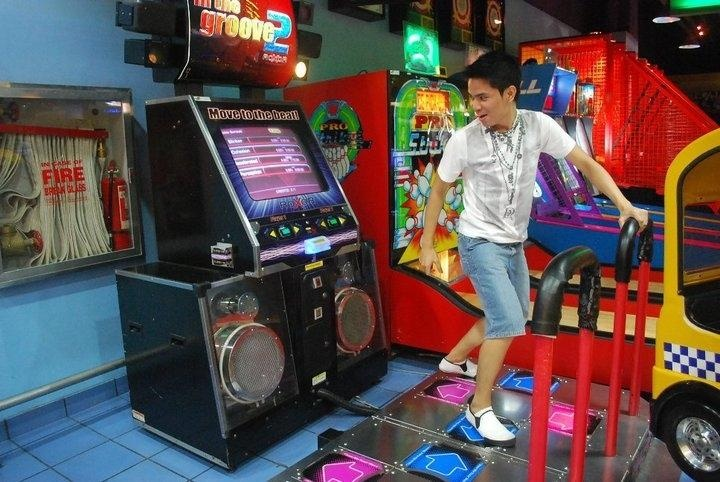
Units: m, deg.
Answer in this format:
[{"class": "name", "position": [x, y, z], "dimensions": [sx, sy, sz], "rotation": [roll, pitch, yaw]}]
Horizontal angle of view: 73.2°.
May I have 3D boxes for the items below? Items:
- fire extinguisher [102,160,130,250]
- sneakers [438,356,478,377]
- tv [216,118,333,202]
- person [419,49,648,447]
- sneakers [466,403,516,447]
[{"class": "fire extinguisher", "position": [-1.761, -0.203, 3.557], "dimensions": [0.191, 0.515, 0.093], "rotation": [-13, 19, -25]}, {"class": "sneakers", "position": [0.710, 0.906, 3.516], "dimensions": [0.362, 0.149, 0.134], "rotation": [9, 14, -31]}, {"class": "tv", "position": [-0.580, -0.556, 3.296], "dimensions": [0.343, 0.485, 0.613], "rotation": [13, 24, 43]}, {"class": "person", "position": [1.062, 0.022, 2.876], "dimensions": [1.233, 2.139, 0.850], "rotation": [0, 14, 11]}, {"class": "sneakers", "position": [0.762, 1.099, 2.918], "dimensions": [0.136, 0.132, 0.340], "rotation": [-10, 13, -29]}]
